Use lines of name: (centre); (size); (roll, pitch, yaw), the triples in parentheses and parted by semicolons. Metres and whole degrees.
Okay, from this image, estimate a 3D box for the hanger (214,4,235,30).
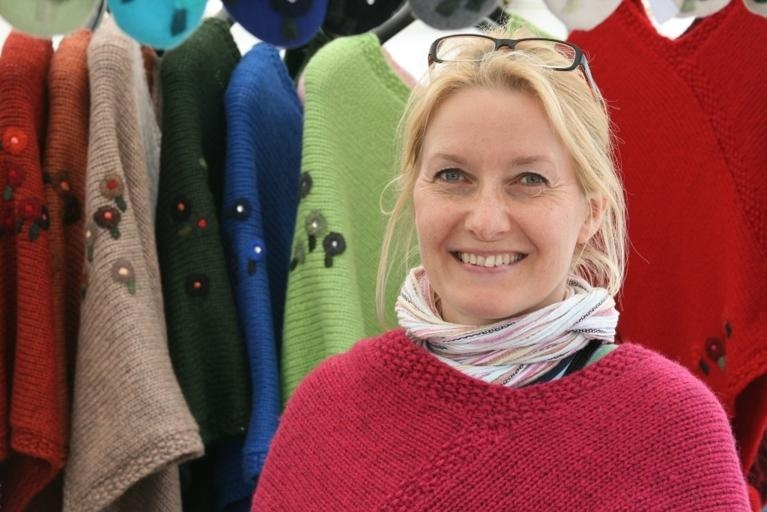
hanger: (-0.320, -0.472, 1.778); (0.034, 0.038, 0.110); (5, 0, -6)
